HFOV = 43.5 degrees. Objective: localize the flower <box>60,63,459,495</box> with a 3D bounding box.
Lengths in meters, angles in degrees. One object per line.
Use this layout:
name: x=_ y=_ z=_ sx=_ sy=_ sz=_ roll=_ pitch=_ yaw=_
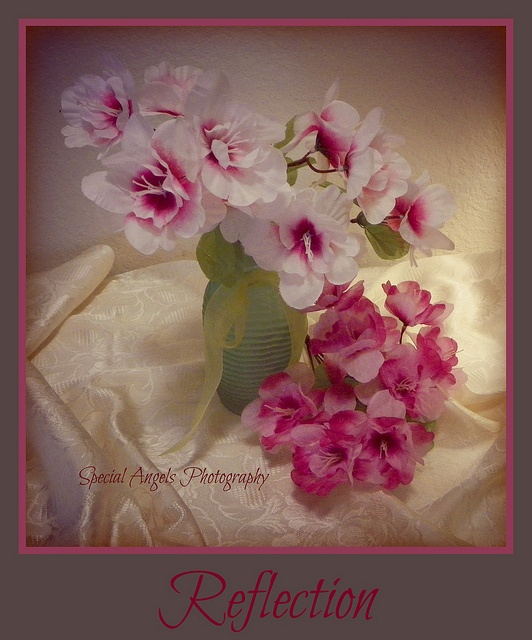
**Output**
flower: x=-0.008 y=-0.043 z=0.834 sx=0.326 sy=0.293 sz=0.340 roll=-13 pitch=-16 yaw=28
